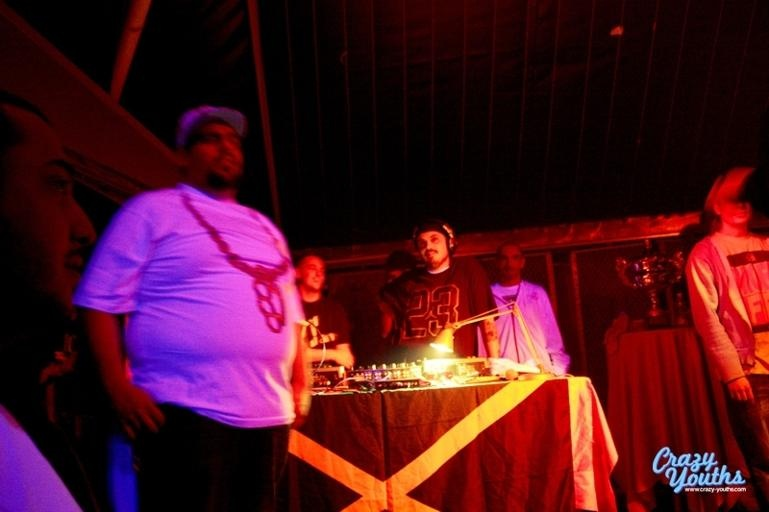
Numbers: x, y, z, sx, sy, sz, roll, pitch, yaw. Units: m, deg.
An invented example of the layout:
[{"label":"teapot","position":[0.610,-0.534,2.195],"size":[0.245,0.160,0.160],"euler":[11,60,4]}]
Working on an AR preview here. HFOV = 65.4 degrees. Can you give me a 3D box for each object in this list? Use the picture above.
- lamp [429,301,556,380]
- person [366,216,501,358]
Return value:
[{"label":"lamp","position":[0.906,0.745,5.171],"size":[1.012,0.731,0.650],"euler":[-4,-25,4]},{"label":"person","position":[0.496,0.497,6.157],"size":[1.320,1.993,0.601],"euler":[9,19,27]}]
